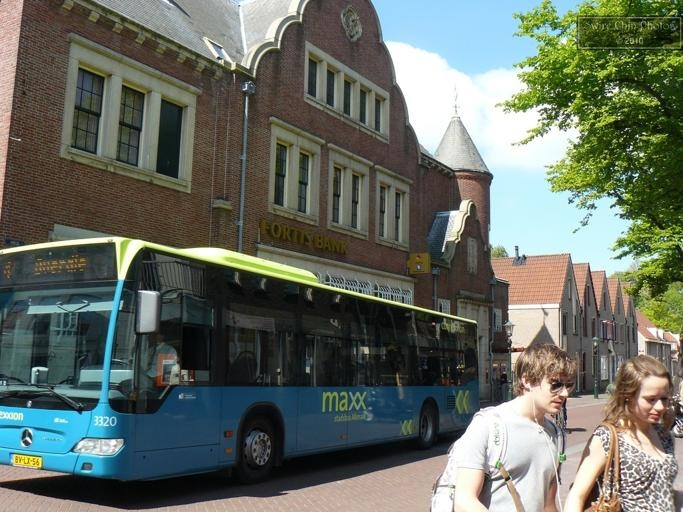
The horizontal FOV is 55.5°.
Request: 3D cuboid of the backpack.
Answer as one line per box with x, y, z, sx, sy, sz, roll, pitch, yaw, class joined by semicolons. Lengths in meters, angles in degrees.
0.864;1.403;4.477;0.564;0.692;0.357;-6;-13;18;backpack
